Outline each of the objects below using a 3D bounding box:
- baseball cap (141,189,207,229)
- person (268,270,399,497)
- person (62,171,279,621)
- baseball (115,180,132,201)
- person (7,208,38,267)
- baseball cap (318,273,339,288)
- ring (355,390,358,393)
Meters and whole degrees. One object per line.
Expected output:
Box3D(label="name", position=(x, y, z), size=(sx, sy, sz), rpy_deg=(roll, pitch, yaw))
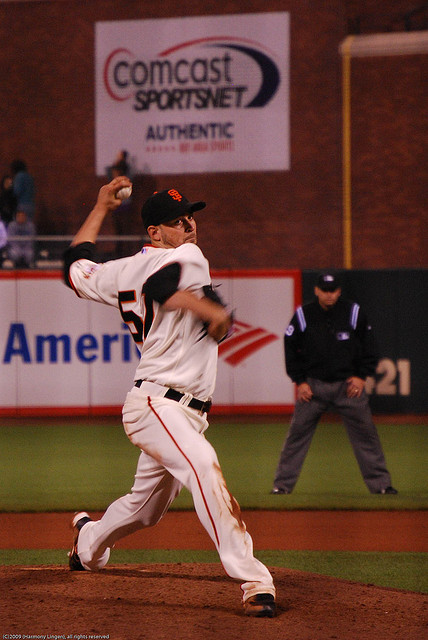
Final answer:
Box3D(label="baseball cap", position=(-0.191, -0.499, 4.185), size=(0.296, 0.174, 0.211), rpy_deg=(2, 5, 20))
Box3D(label="person", position=(0.869, 0.495, 6.870), size=(0.874, 1.665, 0.302), rpy_deg=(0, 6, 3))
Box3D(label="person", position=(-0.215, 0.329, 4.243), size=(0.962, 1.965, 0.917), rpy_deg=(0, 5, -4))
Box3D(label="baseball", position=(-0.402, -0.586, 4.296), size=(0.066, 0.057, 0.094), rpy_deg=(2, 5, 21))
Box3D(label="person", position=(-2.972, -1.313, 14.594), size=(0.481, 1.088, 0.489), rpy_deg=(1, -38, -8))
Box3D(label="baseball cap", position=(0.833, -0.291, 6.835), size=(0.145, 0.093, 0.172), rpy_deg=(1, 4, 5))
Box3D(label="ring", position=(1.025, 0.507, 6.749), size=(0.019, 0.018, 0.005), rpy_deg=(-2, 6, -21))
